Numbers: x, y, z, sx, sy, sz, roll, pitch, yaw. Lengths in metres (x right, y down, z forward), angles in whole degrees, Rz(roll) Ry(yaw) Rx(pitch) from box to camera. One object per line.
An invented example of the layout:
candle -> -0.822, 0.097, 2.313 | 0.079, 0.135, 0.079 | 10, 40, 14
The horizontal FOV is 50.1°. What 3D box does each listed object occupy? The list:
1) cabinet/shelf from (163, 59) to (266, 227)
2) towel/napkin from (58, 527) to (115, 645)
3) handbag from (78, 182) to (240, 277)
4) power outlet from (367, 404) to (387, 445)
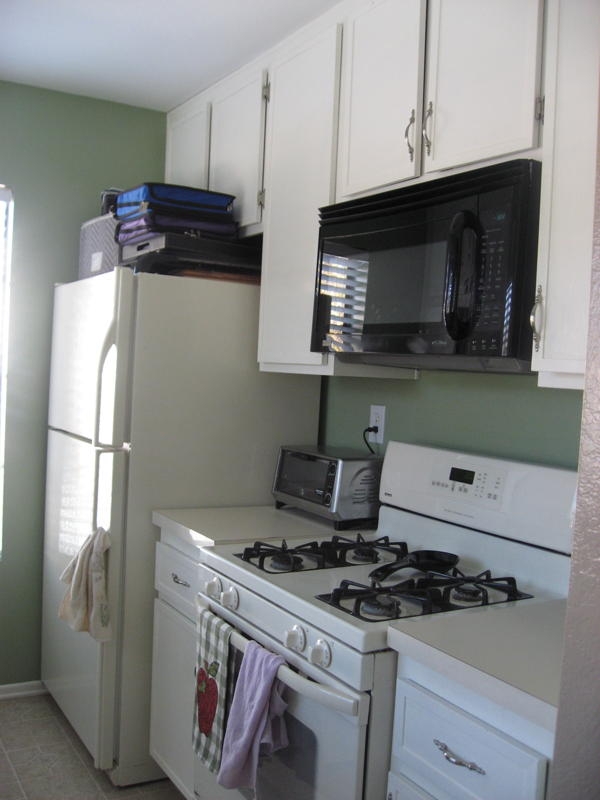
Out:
cabinet/shelf -> -0.306, -0.974, 2.410 | 0.163, 0.560, 0.533 | -2, 9, -35
towel/napkin -> -0.685, 0.600, 2.104 | 0.133, 0.348, 0.093 | 1, 4, -18
handbag -> -0.587, -0.651, 2.423 | 0.728, 0.334, 0.329 | 5, 5, 32
power outlet -> 0.270, 0.083, 2.212 | 0.015, 0.183, 0.113 | 0, 3, -21
